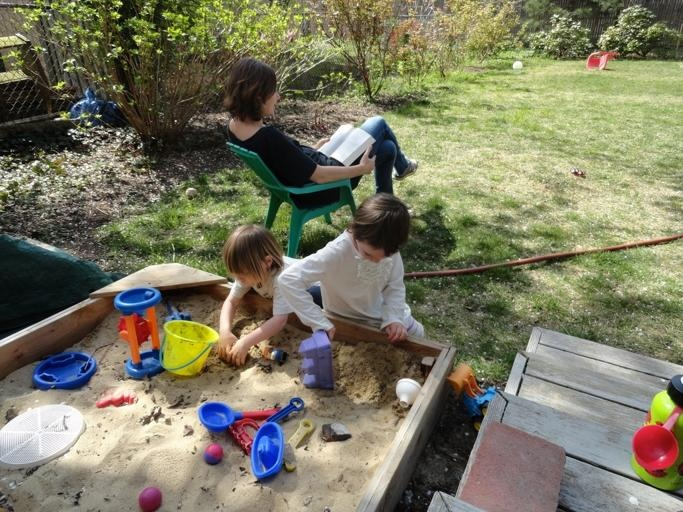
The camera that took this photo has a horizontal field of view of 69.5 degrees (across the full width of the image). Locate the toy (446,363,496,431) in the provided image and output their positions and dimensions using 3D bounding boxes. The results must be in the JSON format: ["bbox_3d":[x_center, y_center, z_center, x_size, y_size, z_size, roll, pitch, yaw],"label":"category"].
[{"bbox_3d":[0.767,0.822,2.889,0.121,0.397,0.313,-9,29,49],"label":"toy"}]

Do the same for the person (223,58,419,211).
[{"bbox_3d":[-0.126,-1.029,4.229,0.896,1.365,1.546,18,34,30],"label":"person"}]

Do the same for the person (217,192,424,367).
[{"bbox_3d":[-0.158,0.213,3.036,1.230,0.596,0.939,-14,-3,41],"label":"person"}]

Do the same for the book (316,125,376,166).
[{"bbox_3d":[0.060,-0.991,4.344,0.411,0.119,0.432,-45,54,-15],"label":"book"}]

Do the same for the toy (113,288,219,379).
[{"bbox_3d":[-1.001,0.357,2.992,0.655,0.609,0.446,-4,31,-22],"label":"toy"}]

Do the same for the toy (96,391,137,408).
[{"bbox_3d":[-1.242,0.800,2.724,0.132,0.036,0.094,-3,13,-12],"label":"toy"}]

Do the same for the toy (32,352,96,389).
[{"bbox_3d":[-1.629,0.675,2.903,0.329,0.080,0.278,2,29,6],"label":"toy"}]

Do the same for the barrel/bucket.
[{"bbox_3d":[-0.914,0.617,2.994,0.373,0.381,0.274,5,72,-11],"label":"barrel/bucket"}]

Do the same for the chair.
[{"bbox_3d":[-0.373,-0.593,4.249,0.899,1.070,0.710,-27,45,-25],"label":"chair"}]

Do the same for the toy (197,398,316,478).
[{"bbox_3d":[-0.460,0.933,2.547,0.559,0.124,0.445,-5,29,-6],"label":"toy"}]

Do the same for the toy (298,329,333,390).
[{"bbox_3d":[-0.142,0.598,2.781,0.178,0.323,0.203,-3,31,0],"label":"toy"}]
